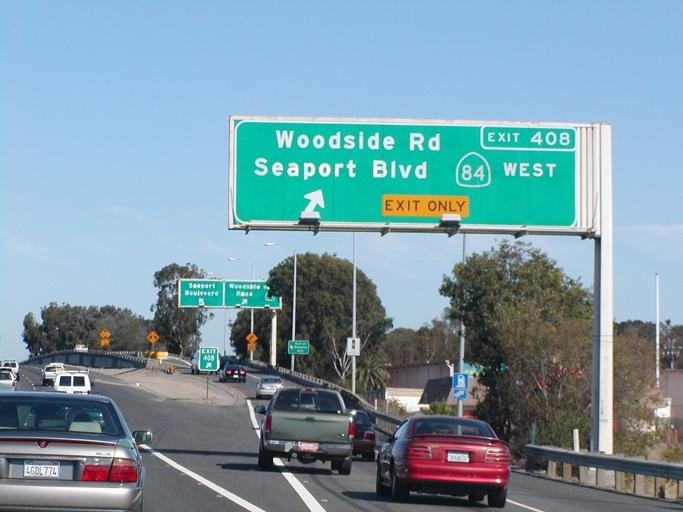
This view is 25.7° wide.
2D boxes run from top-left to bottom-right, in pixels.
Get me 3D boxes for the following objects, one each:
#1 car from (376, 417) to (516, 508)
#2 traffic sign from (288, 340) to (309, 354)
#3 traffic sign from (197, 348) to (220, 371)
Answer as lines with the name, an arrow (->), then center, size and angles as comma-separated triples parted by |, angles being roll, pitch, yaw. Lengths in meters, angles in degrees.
car -> 3.300, 6.482, 47.515 | 4.035, 2.786, 1.479 | 2, -5, 9
traffic sign -> -3.293, 6.981, 114.747 | 1.429, 0.971, 1.010 | 3, -6, 4
traffic sign -> -7.178, 5.559, 81.120 | 1.034, 1.156, 1.793 | 4, -6, -9
